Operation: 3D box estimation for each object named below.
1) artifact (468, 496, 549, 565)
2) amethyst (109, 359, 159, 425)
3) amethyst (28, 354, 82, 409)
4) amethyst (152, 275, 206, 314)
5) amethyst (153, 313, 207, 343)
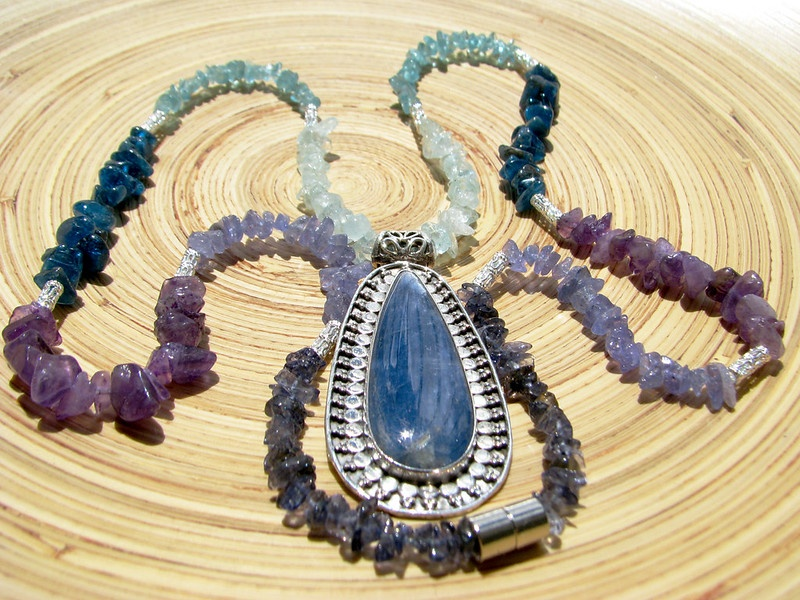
[{"bbox_3d":[0.281,0.610,2.458,0.234,0.147,0.141,-16,47,-19],"label":"artifact"},{"bbox_3d":[-0.796,0.272,2.632,0.136,0.055,0.164,-12,71,-2],"label":"amethyst"},{"bbox_3d":[-1.036,0.236,2.633,0.132,0.082,0.160,33,76,12],"label":"amethyst"},{"bbox_3d":[-0.725,-0.015,2.889,0.156,0.065,0.142,-2,71,2],"label":"amethyst"},{"bbox_3d":[-0.708,0.094,2.812,0.130,0.096,0.082,-1,50,-3],"label":"amethyst"}]
